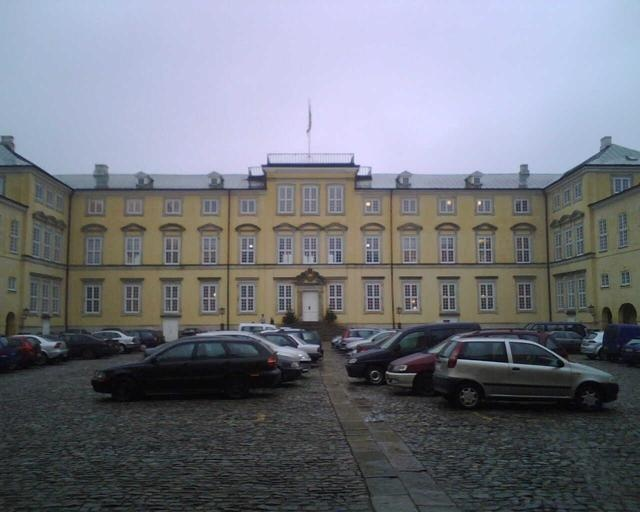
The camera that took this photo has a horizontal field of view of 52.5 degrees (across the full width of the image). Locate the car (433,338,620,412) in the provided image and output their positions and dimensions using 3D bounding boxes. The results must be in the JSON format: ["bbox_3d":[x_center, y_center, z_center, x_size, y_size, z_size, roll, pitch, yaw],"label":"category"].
[{"bbox_3d":[5.133,2.928,16.440,4.029,1.420,1.858,-2,-6,3],"label":"car"}]

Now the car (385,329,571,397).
[{"bbox_3d":[4.457,3.062,17.947,4.883,1.543,2.118,1,-6,2],"label":"car"}]

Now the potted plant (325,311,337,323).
[{"bbox_3d":[0.929,5.072,53.893,0.864,0.813,0.959,9,3,-5],"label":"potted plant"}]

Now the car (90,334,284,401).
[{"bbox_3d":[-3.683,3.121,18.232,4.725,1.407,1.994,2,-7,-5],"label":"car"}]
